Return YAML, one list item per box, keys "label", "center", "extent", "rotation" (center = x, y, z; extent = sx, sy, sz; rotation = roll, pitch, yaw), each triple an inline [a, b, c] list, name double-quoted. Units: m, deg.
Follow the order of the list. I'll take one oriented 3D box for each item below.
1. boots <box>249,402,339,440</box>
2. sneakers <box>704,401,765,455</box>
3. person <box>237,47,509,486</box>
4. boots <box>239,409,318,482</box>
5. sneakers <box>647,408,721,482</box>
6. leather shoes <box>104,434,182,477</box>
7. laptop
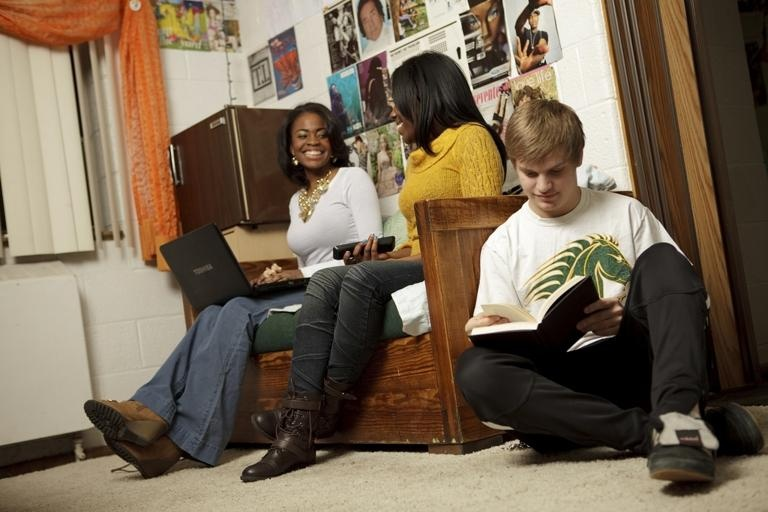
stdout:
- label: "boots"
  center: [-0.315, 0.592, 2.096]
  extent: [0.298, 0.207, 0.113]
  rotation: [13, 37, -27]
- label: "sneakers"
  center: [0.889, 0.443, 1.489]
  extent: [0.076, 0.070, 0.177]
  rotation: [19, 13, -35]
- label: "person"
  center: [0.032, -0.021, 2.253]
  extent: [0.957, 1.587, 0.648]
  rotation: [1, -6, -16]
- label: "boots"
  center: [-0.361, 0.631, 2.021]
  extent: [0.118, 0.248, 0.341]
  rotation: [3, 1, 38]
- label: "sneakers"
  center: [0.707, 0.433, 1.377]
  extent: [0.150, 0.111, 0.272]
  rotation: [-7, 1, 26]
- label: "leather shoes"
  center: [-0.931, 0.777, 2.276]
  extent: [0.074, 0.216, 0.155]
  rotation: [-44, 6, 38]
- label: "laptop"
  center: [-0.662, 0.049, 2.623]
  extent: [0.423, 0.318, 0.468]
  rotation: [-16, -2, 38]
